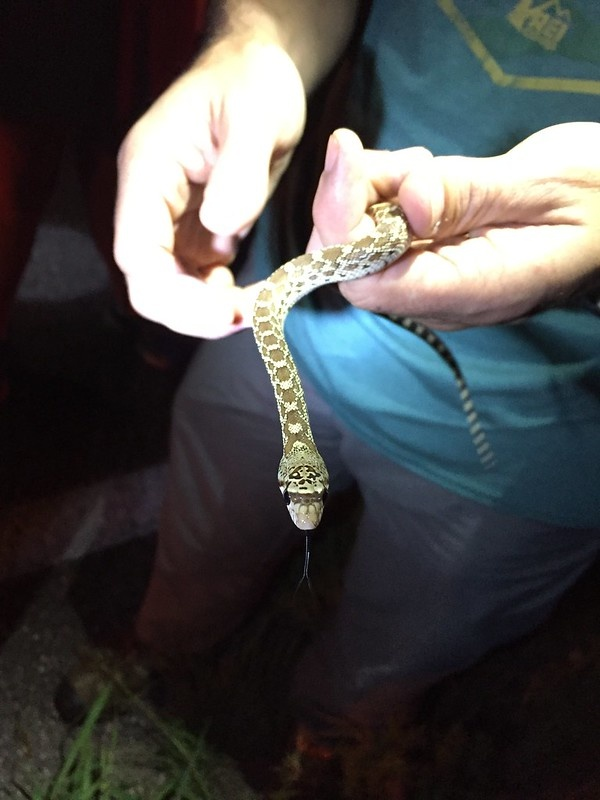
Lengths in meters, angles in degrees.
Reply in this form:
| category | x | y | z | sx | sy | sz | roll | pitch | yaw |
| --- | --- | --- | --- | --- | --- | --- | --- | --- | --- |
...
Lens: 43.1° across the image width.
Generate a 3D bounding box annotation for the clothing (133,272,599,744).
| category | x | y | z | sx | sy | sz | roll | pitch | yaw |
| --- | --- | --- | --- | --- | --- | --- | --- | --- | --- |
| clothing | 0.107 | 0.386 | 2.231 | 1.321 | 0.622 | 0.965 | 19 | 41 | 26 |
